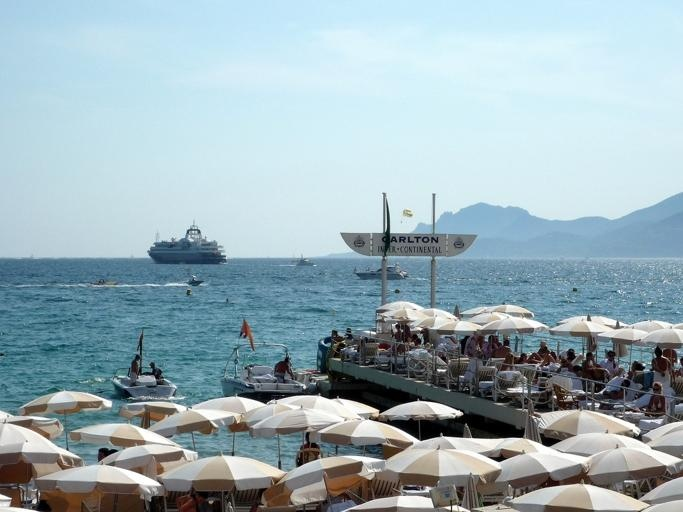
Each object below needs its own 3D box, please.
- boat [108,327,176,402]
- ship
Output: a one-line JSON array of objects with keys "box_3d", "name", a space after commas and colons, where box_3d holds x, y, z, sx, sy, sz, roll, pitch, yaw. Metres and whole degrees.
[{"box_3d": [-7.308, 4.679, 37.600, 2.261, 3.094, 2.358, -9, 0, -11], "name": "boat"}, {"box_3d": [-33.276, -2.020, 215.424, 17.849, 7.692, 8.647, -1, -4, 12], "name": "ship"}]
